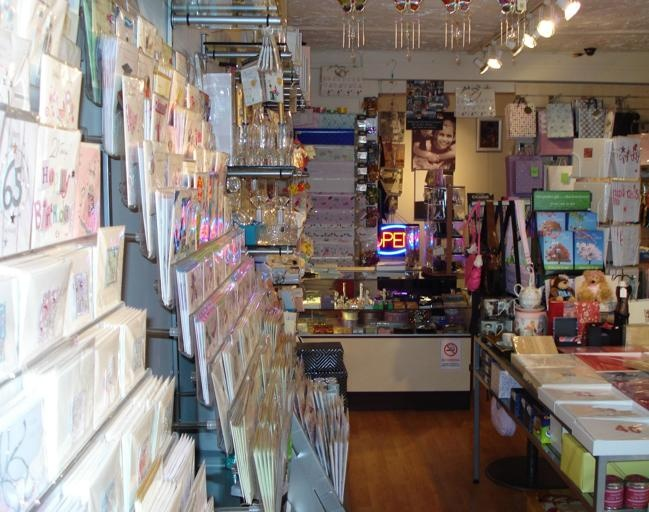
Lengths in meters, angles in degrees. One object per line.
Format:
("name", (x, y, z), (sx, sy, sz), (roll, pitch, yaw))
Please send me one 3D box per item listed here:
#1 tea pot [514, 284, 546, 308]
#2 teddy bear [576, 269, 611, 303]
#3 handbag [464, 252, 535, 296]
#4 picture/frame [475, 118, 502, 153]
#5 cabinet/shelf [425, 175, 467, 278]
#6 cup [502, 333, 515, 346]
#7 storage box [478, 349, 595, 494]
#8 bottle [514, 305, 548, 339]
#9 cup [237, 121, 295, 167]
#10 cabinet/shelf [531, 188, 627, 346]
("tea pot", (1.497, 0.280, 3.911), (0.222, 0.216, 0.187), (0, 5, 20))
("teddy bear", (1.940, 0.226, 3.852), (0.202, 0.320, 0.182), (-3, -18, 33))
("handbag", (1.568, 0.132, 4.957), (0.432, 0.534, 0.346), (3, 4, 13))
("picture/frame", (3.070, -2.297, 9.974), (0.471, 0.724, 0.057), (6, 43, 23))
("cabinet/shelf", (2.005, -0.621, 8.889), (0.676, 1.663, 1.293), (1, 9, 11))
("cup", (1.278, 0.571, 3.710), (0.068, 0.075, 0.087), (-1, 2, 1))
("storage box", (1.292, 1.014, 3.279), (0.473, 0.768, 0.968), (0, 13, -1))
("bottle", (1.481, 0.452, 3.834), (0.184, 0.241, 0.205), (-1, 4, 5))
("cup", (-0.328, -0.622, 2.964), (0.250, 0.297, 0.267), (1, 12, 0))
("cabinet/shelf", (2.317, 0.075, 5.055), (0.516, 1.322, 0.381), (-3, 12, 18))
